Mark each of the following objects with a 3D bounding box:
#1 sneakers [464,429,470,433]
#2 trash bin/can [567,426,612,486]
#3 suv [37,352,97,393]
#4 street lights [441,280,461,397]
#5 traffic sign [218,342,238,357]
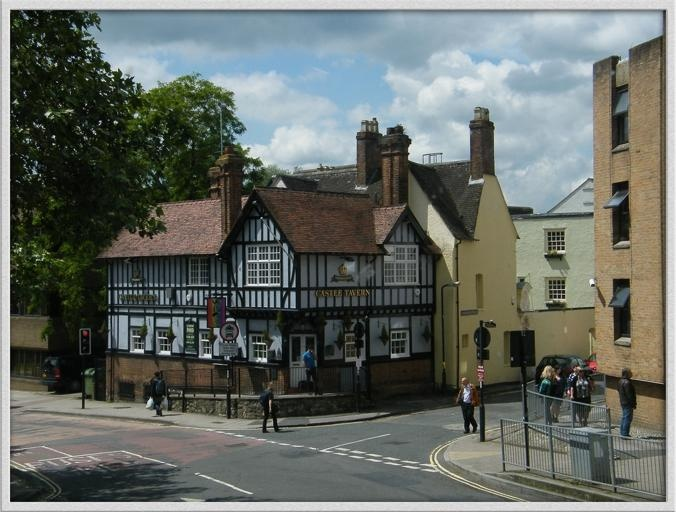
[{"bbox_3d":[4.829,6.651,42.773,0.178,0.121,0.166,-2,-1,10],"label":"sneakers"},{"bbox_3d":[7.639,6.070,34.376,0.970,1.721,0.992,-5,4,-45],"label":"trash bin/can"},{"bbox_3d":[-13.632,6.207,58.675,1.661,1.992,3.753,0,-4,33],"label":"suv"},{"bbox_3d":[5.335,3.767,54.112,0.927,5.116,0.894,-1,0,6],"label":"street lights"},{"bbox_3d":[-4.639,3.969,47.929,0.834,0.701,0.125,1,1,30],"label":"traffic sign"}]
